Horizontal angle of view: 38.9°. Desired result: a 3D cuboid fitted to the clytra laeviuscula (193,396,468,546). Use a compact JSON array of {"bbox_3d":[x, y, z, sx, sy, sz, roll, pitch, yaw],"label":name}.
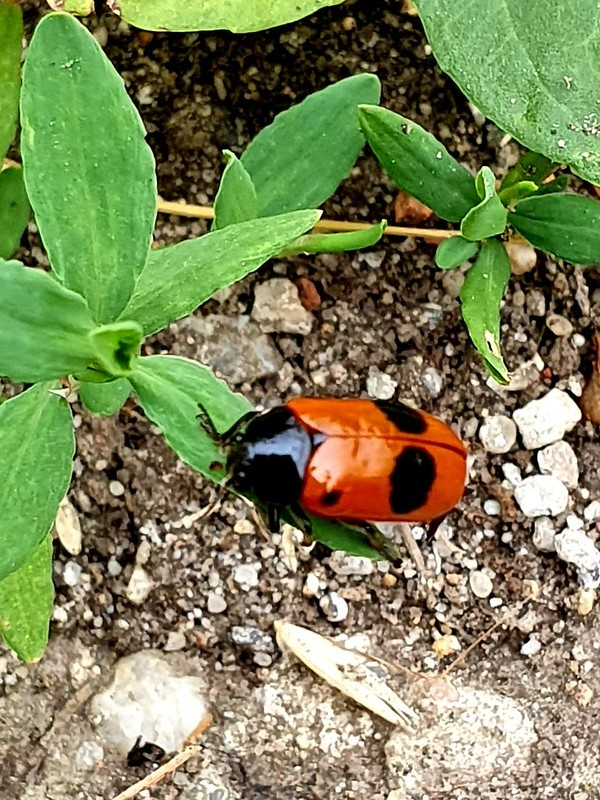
[{"bbox_3d":[0.063,0.096,1.340,0.452,0.141,0.278,-1,54,-17],"label":"clytra laeviuscula"}]
